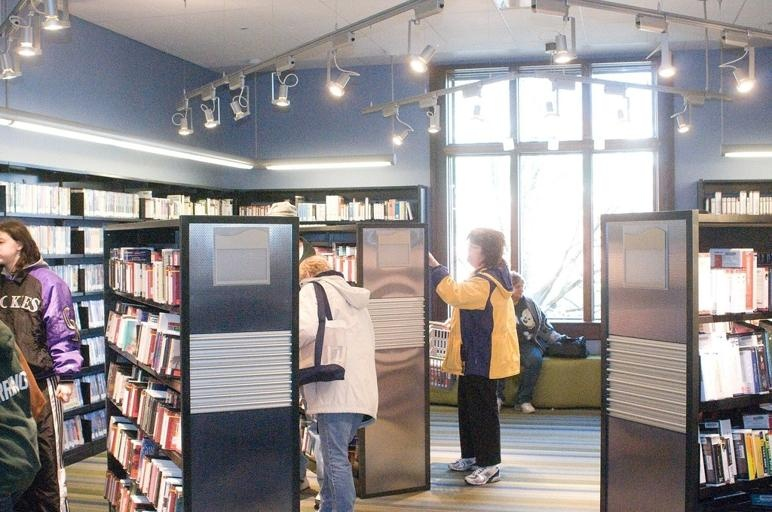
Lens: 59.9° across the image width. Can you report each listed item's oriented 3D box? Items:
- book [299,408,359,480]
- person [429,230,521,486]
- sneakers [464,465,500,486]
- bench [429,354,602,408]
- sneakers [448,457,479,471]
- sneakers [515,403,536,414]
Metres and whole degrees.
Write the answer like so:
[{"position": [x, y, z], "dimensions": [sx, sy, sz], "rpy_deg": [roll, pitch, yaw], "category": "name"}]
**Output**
[{"position": [-0.686, 1.878, 6.917], "dimensions": [0.250, 0.926, 0.691], "rpy_deg": [-3, 2, -23], "category": "book"}, {"position": [0.911, 1.036, 6.750], "dimensions": [0.810, 2.610, 0.547], "rpy_deg": [0, 8, 10], "category": "person"}, {"position": [1.002, 2.249, 6.863], "dimensions": [0.421, 0.191, 0.155], "rpy_deg": [3, -5, -25], "category": "sneakers"}, {"position": [1.626, 1.496, 8.019], "dimensions": [1.163, 0.400, 1.133], "rpy_deg": [-3, -4, 35], "category": "bench"}, {"position": [0.813, 2.228, 7.176], "dimensions": [0.358, 0.161, 0.128], "rpy_deg": [3, -5, -8], "category": "sneakers"}, {"position": [1.850, 2.010, 8.880], "dimensions": [0.106, 0.104, 0.257], "rpy_deg": [-1, -2, -33], "category": "sneakers"}]
